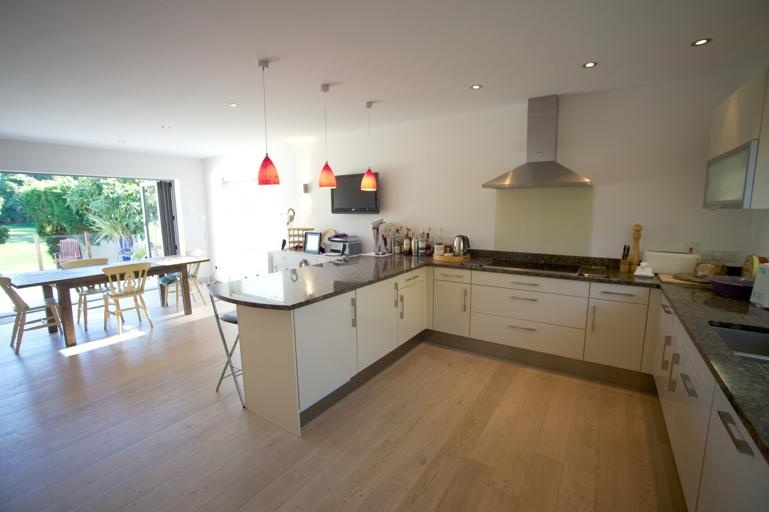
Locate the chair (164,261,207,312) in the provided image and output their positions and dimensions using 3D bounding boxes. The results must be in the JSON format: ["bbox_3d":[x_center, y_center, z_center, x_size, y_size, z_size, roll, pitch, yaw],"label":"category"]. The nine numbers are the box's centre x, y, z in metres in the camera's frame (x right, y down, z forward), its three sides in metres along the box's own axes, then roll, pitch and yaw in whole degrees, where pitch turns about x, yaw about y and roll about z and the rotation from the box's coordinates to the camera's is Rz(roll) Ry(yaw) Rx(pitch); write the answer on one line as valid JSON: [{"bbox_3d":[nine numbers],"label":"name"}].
[{"bbox_3d":[-3.352,0.376,8.055,0.666,0.900,0.689,-6,13,-11],"label":"chair"}]

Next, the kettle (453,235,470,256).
[{"bbox_3d":[1.008,-0.148,6.419,0.207,0.248,0.272,0,7,13],"label":"kettle"}]

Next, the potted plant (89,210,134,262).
[{"bbox_3d":[-5.458,-0.416,9.760,0.741,0.870,0.906,-6,8,-32],"label":"potted plant"}]

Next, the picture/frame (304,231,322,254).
[{"bbox_3d":[-1.135,-0.204,7.656,0.344,0.355,0.037,0,-2,35],"label":"picture/frame"}]

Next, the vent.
[{"bbox_3d":[1.905,-1.330,5.917,1.204,1.155,0.892,2,-1,27],"label":"vent"}]

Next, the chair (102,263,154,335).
[{"bbox_3d":[-3.717,0.564,7.034,0.593,1.050,0.649,-8,18,-32],"label":"chair"}]

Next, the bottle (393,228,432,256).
[{"bbox_3d":[0.350,-0.223,6.824,0.651,0.381,0.307,4,9,34],"label":"bottle"}]

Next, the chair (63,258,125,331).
[{"bbox_3d":[-4.437,0.623,7.274,0.584,0.981,0.626,-5,-11,-24],"label":"chair"}]

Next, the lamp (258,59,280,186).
[{"bbox_3d":[-1.260,-1.390,5.083,0.264,1.282,0.290,-2,19,-14],"label":"lamp"}]

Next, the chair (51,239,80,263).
[{"bbox_3d":[-5.462,-0.081,8.256,0.332,0.492,0.339,11,13,40],"label":"chair"}]
